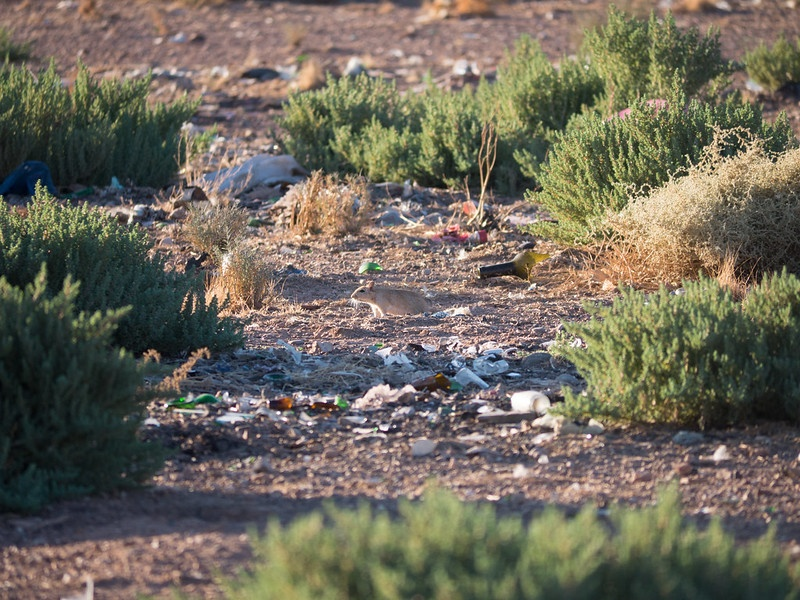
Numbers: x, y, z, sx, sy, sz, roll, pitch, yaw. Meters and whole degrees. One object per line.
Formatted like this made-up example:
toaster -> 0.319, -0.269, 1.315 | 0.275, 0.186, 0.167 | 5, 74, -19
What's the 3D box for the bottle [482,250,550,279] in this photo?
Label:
bottle -> 1.333, -0.421, 19.703 | 0.952, 0.393, 0.294 | -6, 14, 0
